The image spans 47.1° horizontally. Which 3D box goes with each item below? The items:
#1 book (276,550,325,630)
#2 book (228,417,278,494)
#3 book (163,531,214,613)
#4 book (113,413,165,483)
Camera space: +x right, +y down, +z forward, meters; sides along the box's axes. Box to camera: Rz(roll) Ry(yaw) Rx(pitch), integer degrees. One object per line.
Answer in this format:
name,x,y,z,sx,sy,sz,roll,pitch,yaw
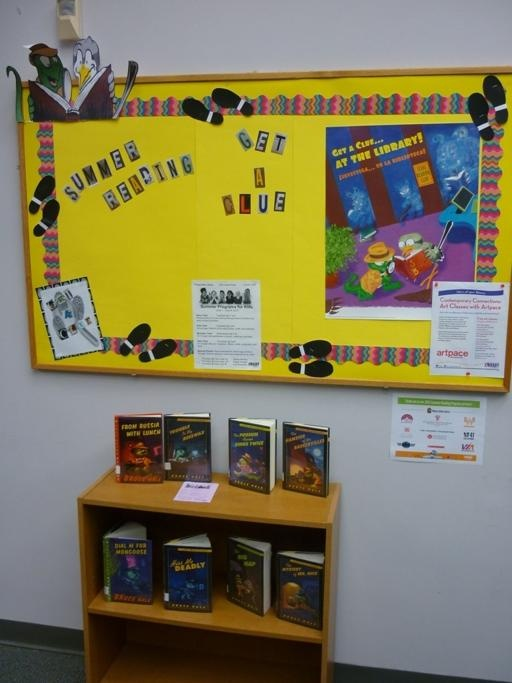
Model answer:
book,0.133,0.754,1.783,0.142,0.195,0.096,-1,11,7
book,-0.071,0.375,1.906,0.220,0.213,0.137,12,-25,-26
book,-0.195,0.745,1.885,0.194,0.193,0.149,2,-9,-21
book,-0.383,0.353,1.934,0.229,0.302,0.050,0,1,3
